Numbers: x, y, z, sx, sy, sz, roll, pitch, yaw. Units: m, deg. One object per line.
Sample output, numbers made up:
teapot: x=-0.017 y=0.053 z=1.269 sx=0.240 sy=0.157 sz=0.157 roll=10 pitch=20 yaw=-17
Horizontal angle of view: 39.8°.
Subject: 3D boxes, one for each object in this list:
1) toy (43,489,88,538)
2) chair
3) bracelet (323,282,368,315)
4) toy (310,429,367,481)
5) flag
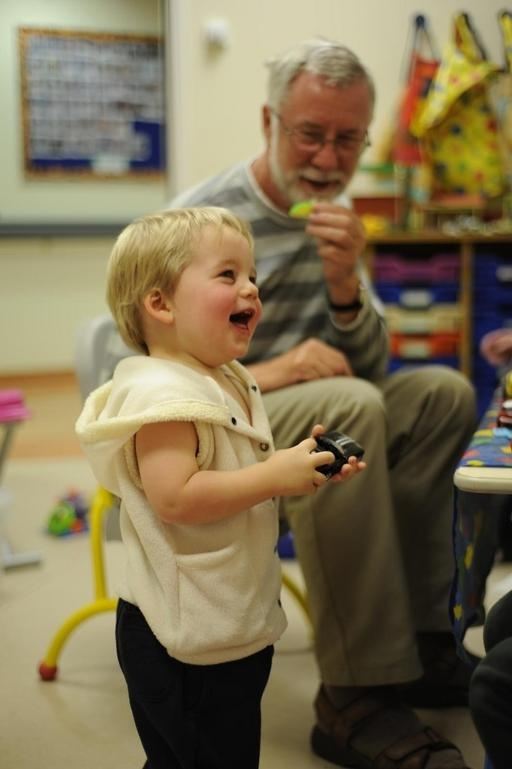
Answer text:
toy: x=-0.486 y=0.328 z=1.806 sx=0.070 sy=0.037 sz=0.122 roll=2 pitch=16 yaw=4
chair: x=-0.150 y=0.176 z=1.304 sx=0.505 sy=0.599 sz=0.475 roll=-1 pitch=10 yaw=-18
bracelet: x=0.124 y=-0.116 z=0.951 sx=0.038 sy=0.046 sz=0.018 roll=3 pitch=24 yaw=15
toy: x=0.076 y=0.062 z=0.674 sx=0.043 sy=0.029 sz=0.044 roll=33 pitch=45 yaw=30
flag: x=0.220 y=-0.371 z=0.914 sx=0.058 sy=0.200 sz=0.049 roll=-24 pitch=26 yaw=-25
